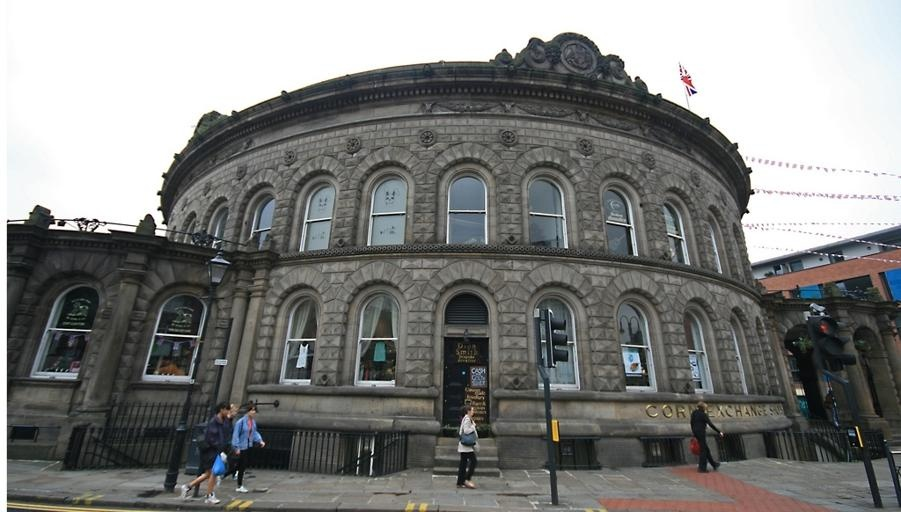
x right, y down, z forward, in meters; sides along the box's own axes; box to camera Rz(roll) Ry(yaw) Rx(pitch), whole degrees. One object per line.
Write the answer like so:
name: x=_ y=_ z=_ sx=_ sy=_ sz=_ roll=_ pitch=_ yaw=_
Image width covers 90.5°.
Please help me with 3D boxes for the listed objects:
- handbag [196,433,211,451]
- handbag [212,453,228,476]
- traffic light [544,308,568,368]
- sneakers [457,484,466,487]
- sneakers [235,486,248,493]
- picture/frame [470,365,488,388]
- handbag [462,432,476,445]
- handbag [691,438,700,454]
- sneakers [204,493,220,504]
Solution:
handbag: x=-8.949 y=6.726 z=16.098 sx=0.448 sy=0.512 sz=0.218 roll=18 pitch=-28 yaw=-37
handbag: x=-8.384 y=7.530 z=16.105 sx=0.427 sy=0.813 sz=0.393 roll=4 pitch=-23 yaw=-7
traffic light: x=3.831 y=2.979 z=16.204 sx=0.743 sy=2.070 sz=1.347 roll=-4 pitch=-23 yaw=11
sneakers: x=0.397 y=8.940 z=17.302 sx=0.247 sy=0.095 sz=0.064 roll=5 pitch=-22 yaw=-11
sneakers: x=-7.915 y=8.894 z=16.907 sx=0.509 sy=0.188 sz=0.236 roll=0 pitch=-9 yaw=11
picture/frame: x=1.303 y=5.716 z=20.806 sx=1.039 sy=1.025 sz=0.150 roll=3 pitch=-25 yaw=-6
handbag: x=0.677 y=7.064 z=17.191 sx=0.576 sy=0.503 sz=0.222 roll=1 pitch=-26 yaw=-4
handbag: x=10.509 y=8.173 z=19.066 sx=0.316 sy=0.566 sz=0.302 roll=-5 pitch=-23 yaw=14
sneakers: x=-8.645 y=8.740 z=15.988 sx=0.640 sy=0.271 sz=0.249 roll=3 pitch=-12 yaw=-4
